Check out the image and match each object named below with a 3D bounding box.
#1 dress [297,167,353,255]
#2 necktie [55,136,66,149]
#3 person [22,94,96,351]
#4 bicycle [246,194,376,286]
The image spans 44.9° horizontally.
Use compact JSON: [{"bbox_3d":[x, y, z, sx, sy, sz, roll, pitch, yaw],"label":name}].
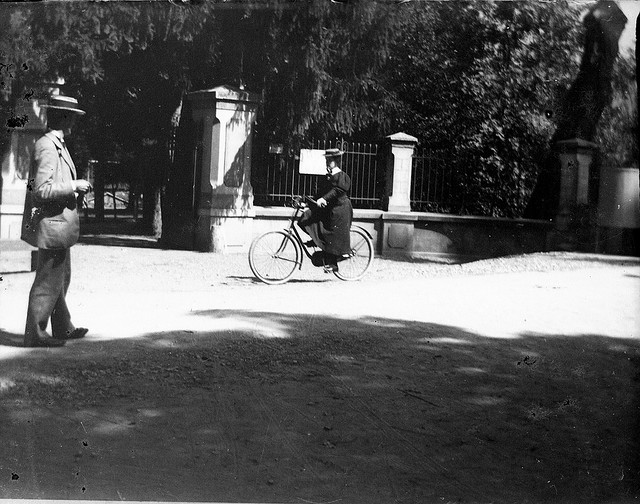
[{"bbox_3d":[0.056,-0.400,6.485,0.390,0.869,0.379,-1,2,-28],"label":"dress"},{"bbox_3d":[-1.732,-0.736,5.200,0.054,0.079,0.156,1,5,-8],"label":"necktie"},{"bbox_3d":[-1.783,-0.208,5.272,0.466,1.714,0.481,0,3,-20],"label":"person"},{"bbox_3d":[-0.147,-0.032,6.274,1.113,0.926,0.523,8,-25,-30],"label":"bicycle"}]
